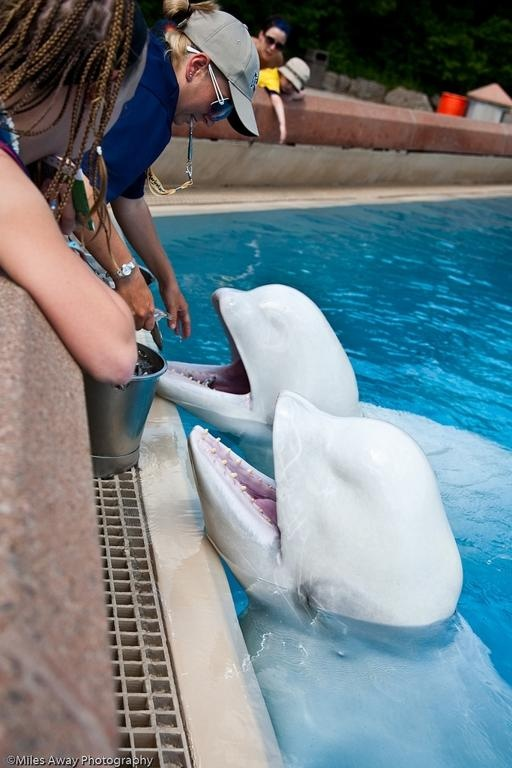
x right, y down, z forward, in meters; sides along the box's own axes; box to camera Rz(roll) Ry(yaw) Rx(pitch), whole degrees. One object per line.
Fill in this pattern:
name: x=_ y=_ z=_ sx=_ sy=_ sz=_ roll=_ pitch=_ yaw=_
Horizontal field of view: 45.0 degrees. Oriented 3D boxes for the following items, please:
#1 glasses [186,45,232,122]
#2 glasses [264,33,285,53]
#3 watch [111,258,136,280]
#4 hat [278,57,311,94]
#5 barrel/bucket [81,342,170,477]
glasses: x=-0.127 y=-0.864 z=1.830 sx=0.041 sy=0.139 sz=0.114 roll=-25 pitch=34 yaw=-35
glasses: x=0.190 y=-3.528 z=6.363 sx=0.193 sy=0.152 sz=0.240 roll=-8 pitch=45 yaw=5
watch: x=-0.299 y=-0.260 z=1.410 sx=0.051 sy=0.033 sz=0.055 roll=-14 pitch=18 yaw=31
hat: x=0.385 y=-3.020 z=6.075 sx=0.191 sy=0.286 sz=0.339 roll=-29 pitch=5 yaw=3
barrel/bucket: x=-0.357 y=0.057 z=1.704 sx=0.325 sy=0.306 sz=0.299 roll=10 pitch=30 yaw=-6
